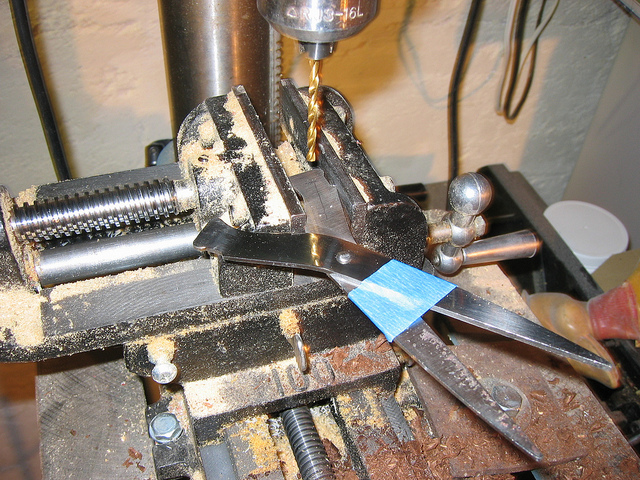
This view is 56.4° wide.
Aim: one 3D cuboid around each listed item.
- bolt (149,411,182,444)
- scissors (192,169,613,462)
[{"bbox_3d":[-0.319,0.384,1.222,0.059,0.015,0.063,-33,55,-22],"label":"bolt"},{"bbox_3d":[0.072,0.133,1.234,0.954,0.059,0.389,36,60,19],"label":"scissors"}]
